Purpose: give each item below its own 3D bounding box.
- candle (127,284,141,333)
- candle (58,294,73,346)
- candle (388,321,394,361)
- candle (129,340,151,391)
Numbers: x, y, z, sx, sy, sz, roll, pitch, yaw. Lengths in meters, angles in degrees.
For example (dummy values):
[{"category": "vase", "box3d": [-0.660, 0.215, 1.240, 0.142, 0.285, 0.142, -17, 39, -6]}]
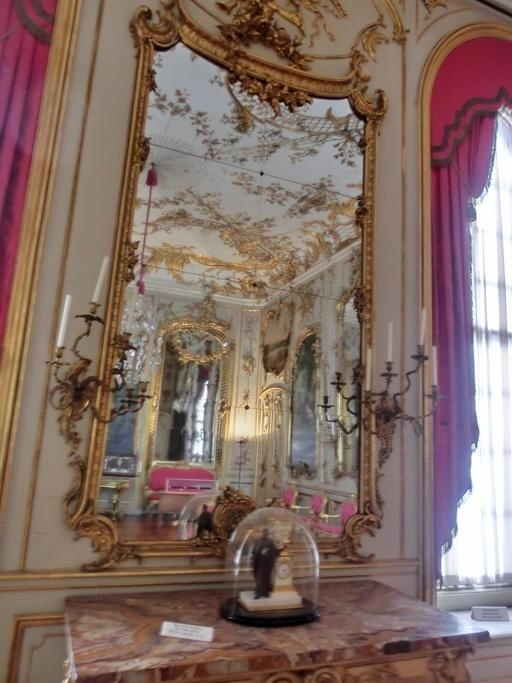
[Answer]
[{"category": "candle", "box3d": [-0.492, -0.135, 2.467, 0.024, 0.153, 0.049, 4, -4, 42]}, {"category": "candle", "box3d": [-0.709, -0.081, 2.264, 0.036, 0.177, 0.222, 8, -3, -18]}, {"category": "candle", "box3d": [0.609, 0.001, 2.767, 0.023, 0.176, 0.084, 6, -3, 12]}, {"category": "candle", "box3d": [-0.470, 0.090, 2.436, 0.096, 0.146, 0.033, 7, -3, -18]}]
